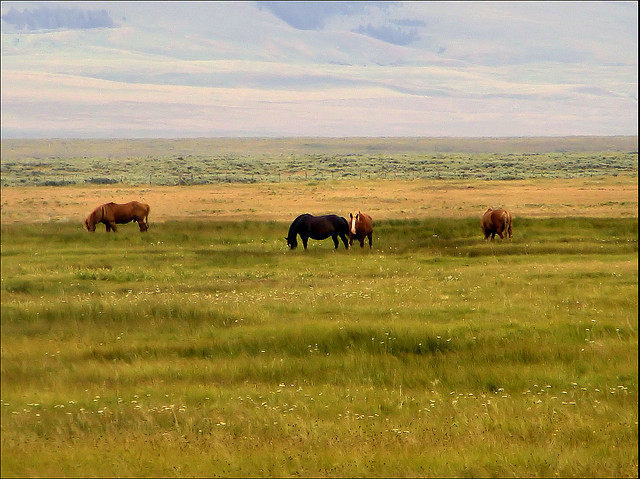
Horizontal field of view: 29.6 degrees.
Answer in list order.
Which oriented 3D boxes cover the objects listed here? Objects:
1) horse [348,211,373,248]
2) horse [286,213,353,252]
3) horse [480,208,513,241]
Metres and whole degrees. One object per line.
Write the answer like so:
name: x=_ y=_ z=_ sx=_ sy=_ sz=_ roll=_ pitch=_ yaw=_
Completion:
horse: x=2.139 y=-0.592 z=63.537 sx=1.058 sy=1.804 sz=1.594 roll=6 pitch=10 yaw=38
horse: x=-0.057 y=-0.406 z=63.638 sx=3.264 sy=1.833 sz=2.395 roll=-1 pitch=8 yaw=-8
horse: x=9.455 y=-0.835 z=64.931 sx=1.597 sy=1.687 sz=1.338 roll=2 pitch=8 yaw=11
